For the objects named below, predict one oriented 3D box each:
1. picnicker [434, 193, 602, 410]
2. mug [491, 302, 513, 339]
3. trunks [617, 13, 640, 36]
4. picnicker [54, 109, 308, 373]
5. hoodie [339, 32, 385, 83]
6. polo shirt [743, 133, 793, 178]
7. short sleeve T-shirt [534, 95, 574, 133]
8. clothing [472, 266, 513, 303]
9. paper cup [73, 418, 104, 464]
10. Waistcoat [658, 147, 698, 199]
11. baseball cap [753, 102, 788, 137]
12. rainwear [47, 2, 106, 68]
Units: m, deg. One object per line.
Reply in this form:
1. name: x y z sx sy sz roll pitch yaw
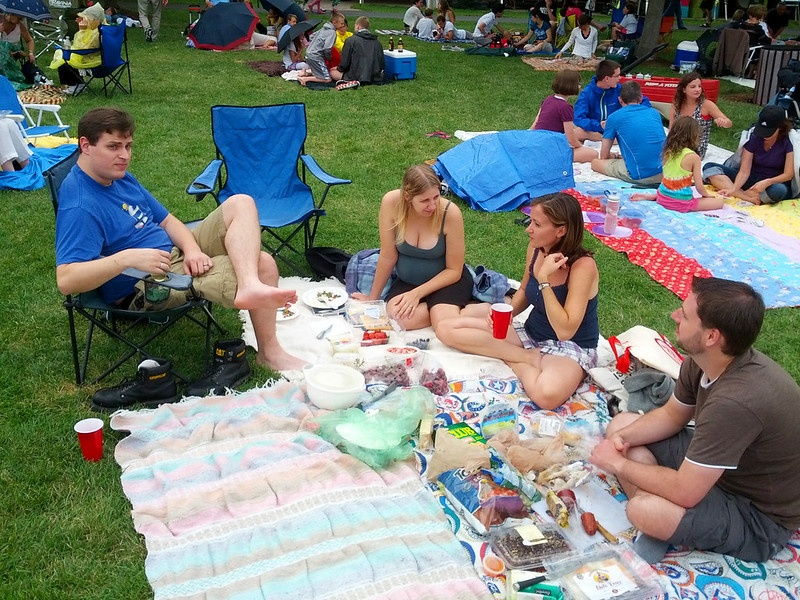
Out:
1. picnicker: 0.832 -0.065 3.951 0.906 1.182 1.091 -9 23 -24
2. mug: 0.635 0.136 3.944 0.200 0.209 0.191 1 2 9
3. trunks: 5.865 -7.170 16.251 0.577 0.558 0.527 -5 33 -1
4. picnicker: -1.272 -0.299 3.889 1.513 1.597 0.943 3 26 1
5. hoodie: -0.664 -4.292 10.866 0.850 0.801 0.646 -14 42 -27
6. polo shirt: 3.870 -1.532 6.515 0.381 0.364 0.217 16 45 36
7. short sleeve T-shirt: 1.856 -2.282 7.577 0.365 0.411 0.401 -10 31 -29
8. clothing: 0.679 -0.134 4.691 0.241 0.130 0.307 16 28 22
9. paper cup: -1.613 0.737 3.233 0.148 0.177 0.155 2 18 -1
10. Waistcoat: 2.856 -1.308 6.363 0.311 0.527 0.396 -8 24 -21
11. baseball cap: 3.816 -1.870 6.406 0.361 0.186 0.237 -49 46 -8
12. rainwear: -4.941 -4.051 9.565 0.760 0.829 2.050 -6 29 -23
